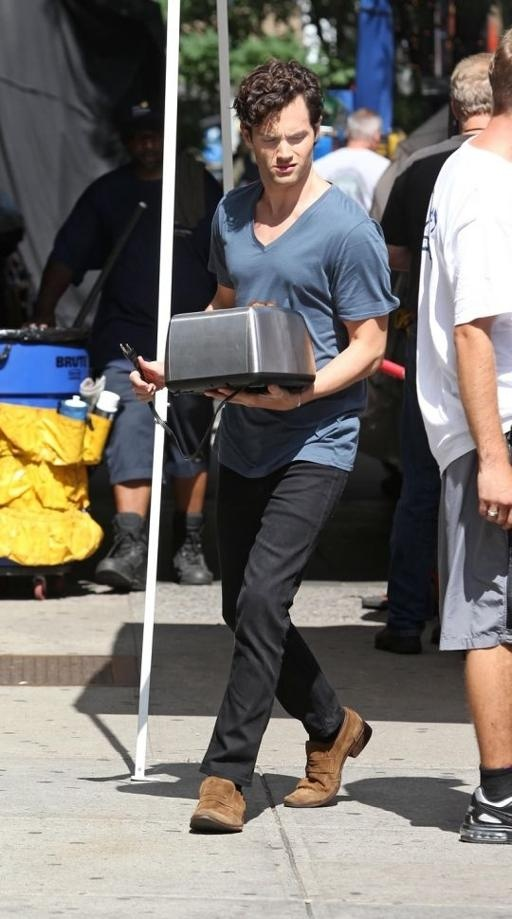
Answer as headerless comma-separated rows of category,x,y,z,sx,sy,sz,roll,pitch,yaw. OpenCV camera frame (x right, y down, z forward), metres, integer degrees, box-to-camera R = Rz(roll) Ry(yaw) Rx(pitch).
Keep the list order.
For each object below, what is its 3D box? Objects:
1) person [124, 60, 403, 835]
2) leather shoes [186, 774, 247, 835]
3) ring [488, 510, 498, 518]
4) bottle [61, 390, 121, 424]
person,0.068,-0.032,2.900,0.535,1.832,0.496,1,5,-25
leather shoes,-0.093,0.788,2.662,0.086,0.073,0.179,0,-8,5
ring,0.502,0.116,2.525,0.018,0.011,0.017,0,6,0
bottle,-0.759,-0.248,5.458,0.234,0.200,0.124,17,12,-18
